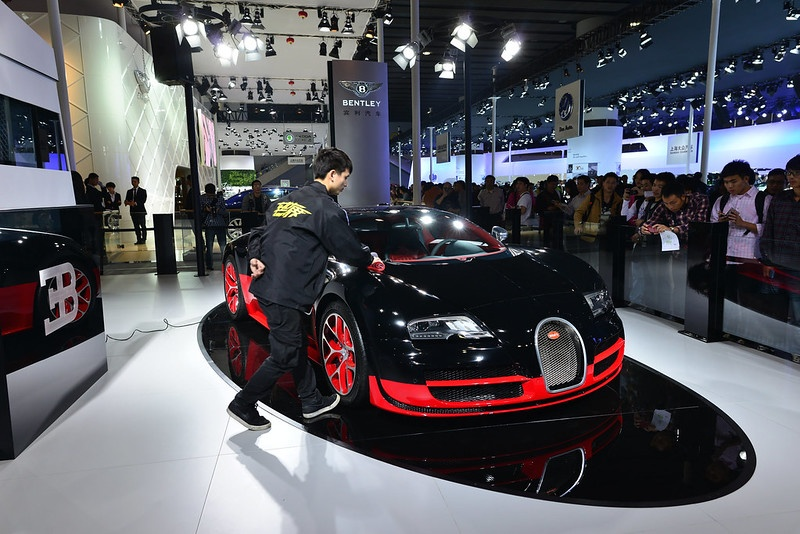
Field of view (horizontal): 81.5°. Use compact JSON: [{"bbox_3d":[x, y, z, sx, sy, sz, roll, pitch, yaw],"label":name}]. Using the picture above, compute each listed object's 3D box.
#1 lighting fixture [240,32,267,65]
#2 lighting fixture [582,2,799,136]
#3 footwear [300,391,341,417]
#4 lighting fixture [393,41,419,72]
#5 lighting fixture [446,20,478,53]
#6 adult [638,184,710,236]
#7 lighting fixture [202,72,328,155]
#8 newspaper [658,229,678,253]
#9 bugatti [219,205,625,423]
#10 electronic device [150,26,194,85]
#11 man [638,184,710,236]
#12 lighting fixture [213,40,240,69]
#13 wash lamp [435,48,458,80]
[{"bbox_3d":[-3.074,-4.508,9.588,0.351,0.505,1.345,-4,12,-18],"label":"lighting fixture"},{"bbox_3d":[9.701,-6.609,15.486,4.466,1.015,4.602,7,11,-15],"label":"lighting fixture"},{"bbox_3d":[-0.634,1.110,3.804,0.341,0.156,0.129,-10,15,-40],"label":"footwear"},{"bbox_3d":[0.123,-3.445,7.568,0.373,0.407,0.521,2,12,13],"label":"lighting fixture"},{"bbox_3d":[0.945,-3.466,6.993,0.360,0.303,0.452,10,16,42],"label":"lighting fixture"},{"bbox_3d":[3.273,-0.618,5.589,0.750,0.481,0.525,-40,22,-20],"label":"adult"},{"bbox_3d":[-7.854,-8.362,26.888,7.946,2.577,2.681,-2,1,3],"label":"lighting fixture"},{"bbox_3d":[3.098,-0.288,5.362,0.211,0.275,0.273,6,13,31],"label":"newspaper"},{"bbox_3d":[0.083,0.442,3.861,1.604,0.919,2.939,-7,9,-31],"label":"bugatti"},{"bbox_3d":[-4.023,-3.782,8.194,0.467,0.998,0.683,1,18,9],"label":"electronic device"},{"bbox_3d":[3.259,-0.703,5.599,0.655,0.642,0.652,-3,12,-10],"label":"man"},{"bbox_3d":[-3.309,-4.095,8.800,0.255,0.392,0.665,-2,12,-6],"label":"lighting fixture"},{"bbox_3d":[0.756,-3.473,7.889,0.309,0.407,0.351,-1,12,-1],"label":"wash lamp"}]
